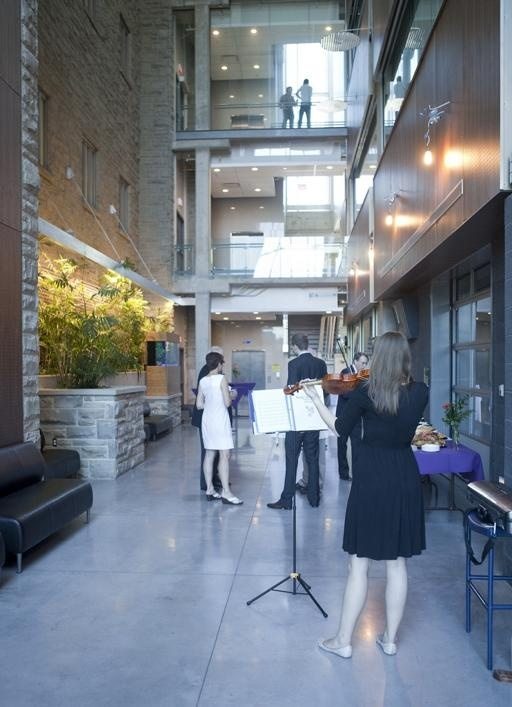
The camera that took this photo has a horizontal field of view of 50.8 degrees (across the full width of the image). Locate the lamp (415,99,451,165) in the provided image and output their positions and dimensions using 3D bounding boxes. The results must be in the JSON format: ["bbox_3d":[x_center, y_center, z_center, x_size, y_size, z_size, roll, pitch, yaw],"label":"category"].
[{"bbox_3d":[1.516,-1.937,4.591,0.158,0.411,0.074,-6,-19,24],"label":"lamp"}]

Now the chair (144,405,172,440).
[{"bbox_3d":[-1.985,1.427,10.669,0.438,0.742,0.935,0,1,2],"label":"chair"}]

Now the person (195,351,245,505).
[{"bbox_3d":[-0.383,0.742,5.451,0.448,1.518,0.600,0,-2,-6],"label":"person"}]

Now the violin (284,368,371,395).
[{"bbox_3d":[0.348,0.133,2.430,0.330,0.069,0.143,-17,-11,31],"label":"violin"}]

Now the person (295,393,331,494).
[{"bbox_3d":[0.671,1.125,6.518,0.559,1.280,0.291,-1,-4,0],"label":"person"}]

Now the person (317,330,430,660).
[{"bbox_3d":[0.479,0.601,2.232,0.435,1.369,0.371,-1,-2,14],"label":"person"}]

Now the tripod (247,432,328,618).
[{"bbox_3d":[0.271,1.102,3.180,0.487,0.840,0.467,6,-9,-43],"label":"tripod"}]

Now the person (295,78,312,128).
[{"bbox_3d":[1.484,-7.696,16.652,0.496,1.627,0.651,-1,-2,6],"label":"person"}]

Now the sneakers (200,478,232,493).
[{"bbox_3d":[-0.445,1.479,6.015,0.124,0.212,0.434,0,0,34],"label":"sneakers"}]

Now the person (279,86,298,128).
[{"bbox_3d":[0.949,-7.515,16.607,0.516,1.217,0.422,-1,-2,15],"label":"person"}]

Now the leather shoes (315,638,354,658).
[{"bbox_3d":[0.349,1.250,2.299,0.052,0.068,0.156,5,-4,-27],"label":"leather shoes"}]

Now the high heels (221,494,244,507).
[{"bbox_3d":[-0.252,1.462,5.361,0.179,0.073,0.089,0,-4,12],"label":"high heels"}]

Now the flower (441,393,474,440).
[{"bbox_3d":[1.709,0.557,4.643,0.147,0.316,0.181,-7,-9,19],"label":"flower"}]
